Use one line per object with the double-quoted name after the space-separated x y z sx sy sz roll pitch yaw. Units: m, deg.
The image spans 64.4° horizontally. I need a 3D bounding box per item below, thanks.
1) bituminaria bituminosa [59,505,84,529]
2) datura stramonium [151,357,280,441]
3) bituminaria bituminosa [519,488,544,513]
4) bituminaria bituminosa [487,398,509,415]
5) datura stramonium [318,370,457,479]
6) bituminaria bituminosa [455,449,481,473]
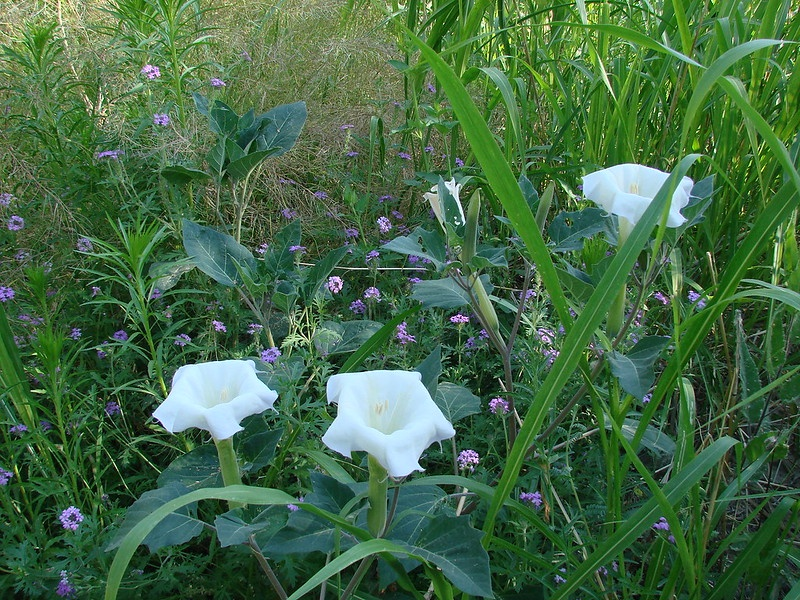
-1.181 0.785 2.280 0.071 0.091 0.034 10 -18 -13 "bituminaria bituminosa"
-0.530 0.290 1.795 0.313 0.159 0.251 -29 37 -30 "datura stramonium"
0.475 0.722 2.303 0.066 0.057 0.074 16 10 -4 "bituminaria bituminosa"
0.386 0.415 2.524 0.064 0.068 0.064 -39 -15 24 "bituminaria bituminosa"
-0.045 0.297 1.678 0.295 0.318 0.300 -7 11 -37 "datura stramonium"
0.248 0.569 2.297 0.082 0.110 0.096 1 -7 4 "bituminaria bituminosa"
